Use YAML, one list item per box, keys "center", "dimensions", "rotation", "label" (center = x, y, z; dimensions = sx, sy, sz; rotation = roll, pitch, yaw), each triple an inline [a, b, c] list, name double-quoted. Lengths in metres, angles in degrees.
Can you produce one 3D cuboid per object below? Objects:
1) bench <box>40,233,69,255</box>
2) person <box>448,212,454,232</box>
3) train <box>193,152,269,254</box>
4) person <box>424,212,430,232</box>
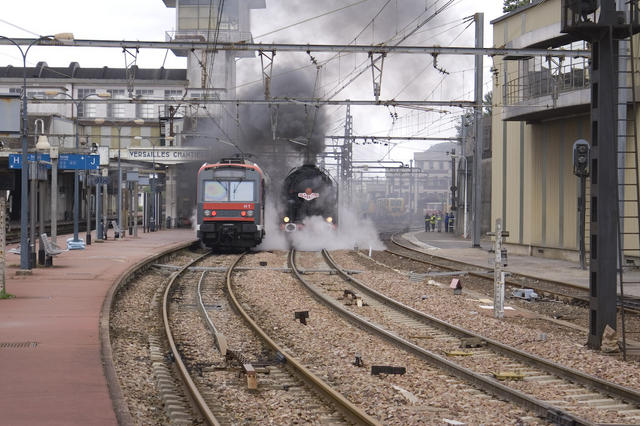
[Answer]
- center: [-9.836, 1.142, 29.134]
  dimensions: [1.053, 0.822, 0.753]
  rotation: [0, 0, -1]
  label: "bench"
- center: [10.441, 0.756, 62.560]
  dimensions: [0.431, 1.647, 1.408]
  rotation: [2, 7, 9]
  label: "person"
- center: [-3.967, -0.326, 35.699]
  dimensions: [2.982, 3.838, 1.204]
  rotation: [1, 7, -7]
  label: "train"
- center: [9.098, 0.806, 66.051]
  dimensions: [0.343, 1.479, 1.193]
  rotation: [2, 6, 5]
  label: "person"
